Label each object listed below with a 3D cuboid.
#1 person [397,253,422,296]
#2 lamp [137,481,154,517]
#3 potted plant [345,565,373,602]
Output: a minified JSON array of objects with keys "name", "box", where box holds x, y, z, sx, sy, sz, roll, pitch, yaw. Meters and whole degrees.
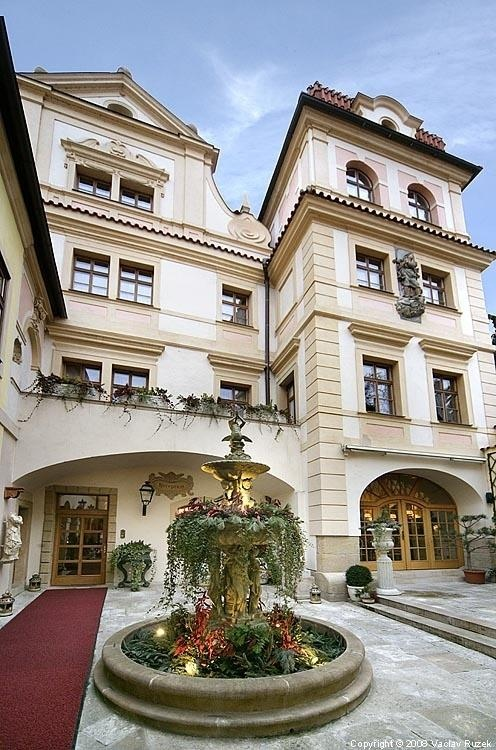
[{"name":"person","box":[3.867,-2.422,12.133,0.723,1.204,0.304,7,-20,-25]},{"name":"lamp","box":[-2.177,2.631,10.782,0.327,0.732,0.383,0,-18,-6]},{"name":"potted plant","box":[1.860,3.500,8.537,0.506,0.594,0.526,7,-18,-10]}]
